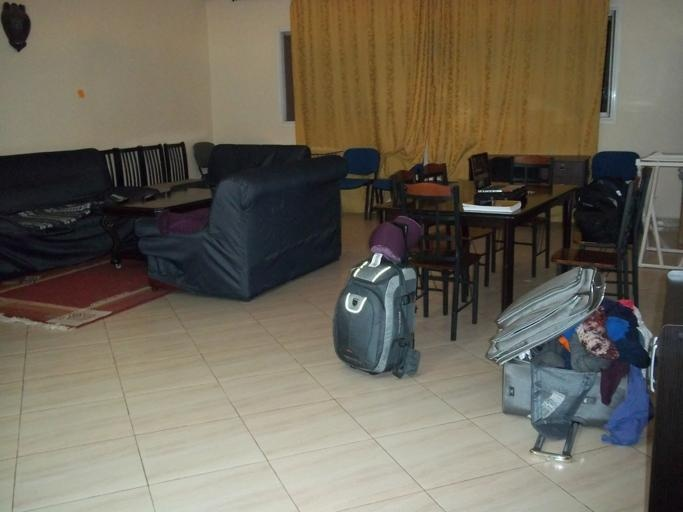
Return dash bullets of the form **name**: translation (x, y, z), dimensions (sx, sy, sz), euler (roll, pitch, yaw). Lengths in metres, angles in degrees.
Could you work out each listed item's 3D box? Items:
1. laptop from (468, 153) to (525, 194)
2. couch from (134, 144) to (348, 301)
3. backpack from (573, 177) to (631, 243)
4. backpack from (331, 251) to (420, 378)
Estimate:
- **laptop**: translation (1.508, -0.806, 5.175), dimensions (0.376, 0.460, 0.686), euler (5, 23, 20)
- **couch**: translation (-1.051, -0.294, 4.708), dimensions (1.596, 1.011, 1.598), euler (9, 17, 32)
- **backpack**: translation (1.807, -0.337, 3.816), dimensions (0.439, 0.468, 0.336), euler (6, 20, 24)
- **backpack**: translation (0.205, 0.364, 3.052), dimensions (0.438, 0.699, 0.656), euler (-4, 10, -35)
